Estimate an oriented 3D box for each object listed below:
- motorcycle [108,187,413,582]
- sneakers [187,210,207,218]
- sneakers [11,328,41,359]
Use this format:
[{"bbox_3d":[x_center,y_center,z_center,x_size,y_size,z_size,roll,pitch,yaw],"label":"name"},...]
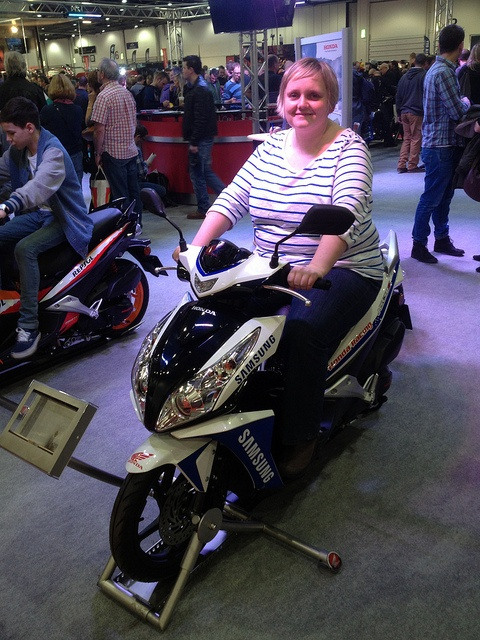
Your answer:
[{"bbox_3d":[0.084,0.147,1.540,0.693,1.150,1.226,4,16,27],"label":"motorcycle"},{"bbox_3d":[-0.626,-1.540,6.766,0.318,0.132,0.107,2,21,-1],"label":"sneakers"},{"bbox_3d":[-1.249,0.144,2.716,0.091,0.187,0.187,3,16,24],"label":"sneakers"}]
